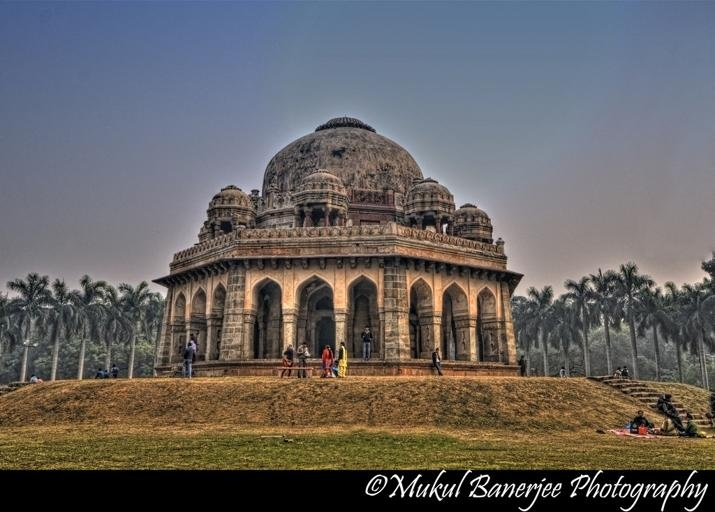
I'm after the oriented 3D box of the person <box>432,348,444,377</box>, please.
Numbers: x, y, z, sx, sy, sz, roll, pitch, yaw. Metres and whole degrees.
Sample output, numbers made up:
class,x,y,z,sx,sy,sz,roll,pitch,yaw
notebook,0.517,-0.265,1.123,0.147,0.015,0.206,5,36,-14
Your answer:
class,x,y,z,sx,sy,sz,roll,pitch,yaw
person,4.006,5.432,28.759,0.531,1.236,2.621,1,-2,9

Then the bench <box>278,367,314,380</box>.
class,x,y,z,sx,sy,sz,roll,pitch,yaw
bench,-2.885,5.493,26.976,1.158,0.266,1.154,0,-4,0
